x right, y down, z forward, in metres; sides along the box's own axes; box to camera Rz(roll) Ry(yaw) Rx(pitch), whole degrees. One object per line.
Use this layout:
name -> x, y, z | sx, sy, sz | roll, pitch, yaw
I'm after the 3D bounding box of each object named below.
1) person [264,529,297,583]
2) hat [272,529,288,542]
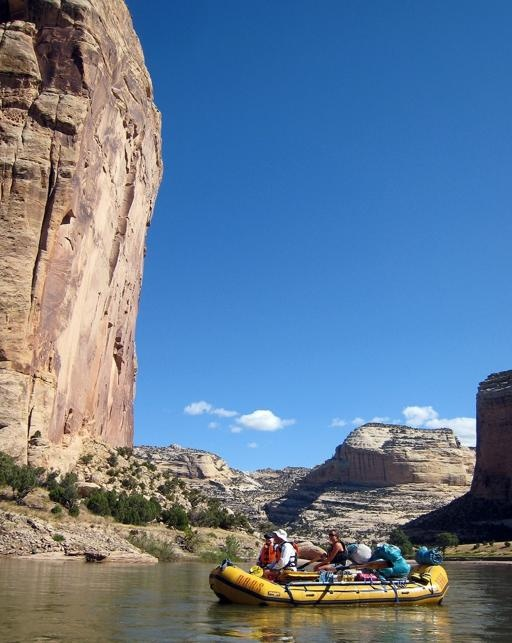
person -> 0.539, 5.386, 16.159 | 0.806, 1.037, 0.741 | 0, 3, -13
hat -> 0.540, 5.040, 16.289 | 0.328, 0.148, 0.403 | 4, 23, -32
